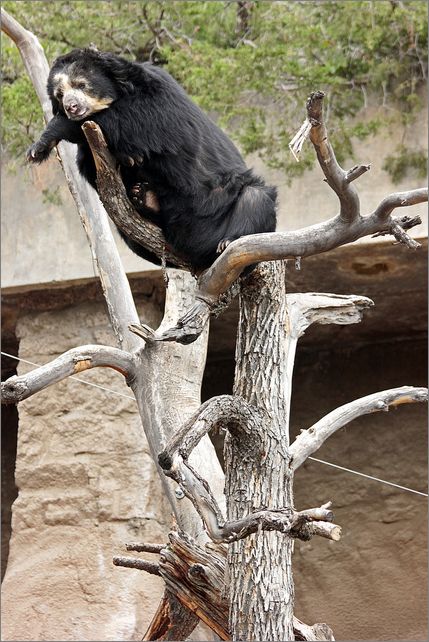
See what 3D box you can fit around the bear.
[{"bbox_3d":[-0.275,-0.880,7.545,0.910,1.565,0.915,-26,36,58],"label":"bear"}]
